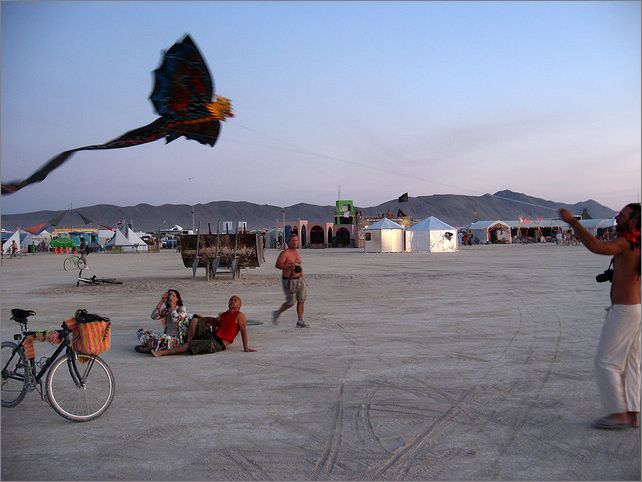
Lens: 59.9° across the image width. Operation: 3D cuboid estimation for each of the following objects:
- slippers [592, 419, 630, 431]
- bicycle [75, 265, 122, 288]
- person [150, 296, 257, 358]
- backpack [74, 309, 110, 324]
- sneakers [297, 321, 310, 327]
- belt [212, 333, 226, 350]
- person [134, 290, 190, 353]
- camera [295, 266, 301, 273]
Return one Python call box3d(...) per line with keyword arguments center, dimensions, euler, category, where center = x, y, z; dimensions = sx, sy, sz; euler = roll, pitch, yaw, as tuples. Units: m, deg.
box3d(center=(3.115, 1.979, 5.943), dimensions=(0.304, 0.116, 0.152), euler=(2, -12, 8), category="slippers")
box3d(center=(-8.186, 1.376, 20.535), dimensions=(1.572, 0.500, 1.640), euler=(-2, 4, -16), category="bicycle")
box3d(center=(-1.959, 1.420, 9.090), dimensions=(0.802, 0.896, 1.717), euler=(4, 3, 44), category="person")
box3d(center=(-2.668, 0.864, 6.424), dimensions=(0.347, 0.157, 0.418), euler=(-3, 4, -25), category="backpack")
box3d(center=(-0.355, 1.669, 11.061), dimensions=(0.250, 0.107, 0.292), euler=(-1, 4, -2), category="sneakers")
box3d(center=(-1.683, 1.662, 9.162), dimensions=(0.095, 0.248, 0.194), euler=(-27, 0, -17), category="belt")
box3d(center=(-2.624, 1.331, 9.103), dimensions=(0.774, 0.913, 0.939), euler=(1, -1, 18), category="person")
box3d(center=(-0.471, 0.582, 11.226), dimensions=(0.130, 0.091, 0.125), euler=(2, -4, -27), category="camera")
